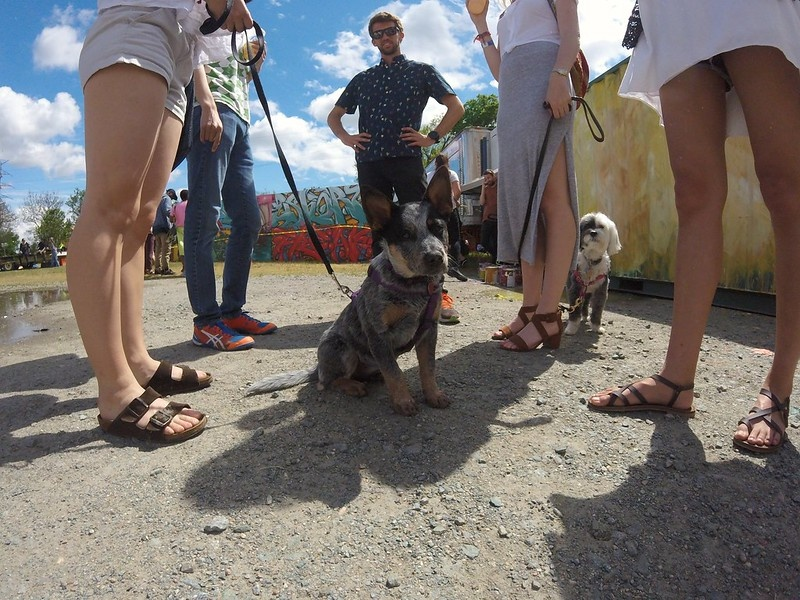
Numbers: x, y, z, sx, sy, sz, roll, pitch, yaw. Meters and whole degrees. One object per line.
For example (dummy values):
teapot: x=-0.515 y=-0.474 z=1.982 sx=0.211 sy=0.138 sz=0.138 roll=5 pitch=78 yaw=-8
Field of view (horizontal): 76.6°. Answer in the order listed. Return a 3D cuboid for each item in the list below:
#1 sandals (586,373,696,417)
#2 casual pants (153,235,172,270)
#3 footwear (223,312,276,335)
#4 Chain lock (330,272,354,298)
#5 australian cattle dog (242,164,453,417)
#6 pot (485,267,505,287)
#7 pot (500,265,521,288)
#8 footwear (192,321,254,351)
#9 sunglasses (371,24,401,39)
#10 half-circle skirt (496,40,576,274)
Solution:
sandals: x=1.376 y=0.528 z=2.905 sx=0.565 sy=0.222 sz=0.211 roll=1 pitch=7 yaw=14
casual pants: x=-6.341 y=-1.292 z=13.401 sx=0.375 sy=1.388 sz=0.335 roll=-2 pitch=-23 yaw=-23
footwear: x=-1.402 y=0.224 z=4.688 sx=0.460 sy=0.218 sz=0.175 roll=3 pitch=19 yaw=-20
Chain lock: x=-0.907 y=-0.232 z=7.600 sx=0.474 sy=0.119 sz=0.489 roll=45 pitch=8 yaw=-2
australian cattle dog: x=-0.266 y=-0.053 z=3.466 sx=1.520 sy=1.532 sz=0.843 roll=2 pitch=8 yaw=44
pot: x=1.680 y=-0.436 z=9.094 sx=0.339 sy=0.274 sz=0.239 roll=5 pitch=-7 yaw=-44
pot: x=1.846 y=-0.396 z=8.668 sx=0.313 sy=0.395 sz=0.366 roll=0 pitch=-1 yaw=-2
footwear: x=-1.487 y=0.285 z=4.273 sx=0.527 sy=0.274 sz=0.216 roll=6 pitch=9 yaw=3
sunglasses: x=-0.148 y=-2.555 z=4.824 sx=0.291 sy=0.120 sz=0.115 roll=-3 pitch=11 yaw=0
half-circle skirt: x=1.082 y=-1.155 z=4.071 sx=0.548 sy=1.695 sz=0.691 roll=-6 pitch=4 yaw=-14
